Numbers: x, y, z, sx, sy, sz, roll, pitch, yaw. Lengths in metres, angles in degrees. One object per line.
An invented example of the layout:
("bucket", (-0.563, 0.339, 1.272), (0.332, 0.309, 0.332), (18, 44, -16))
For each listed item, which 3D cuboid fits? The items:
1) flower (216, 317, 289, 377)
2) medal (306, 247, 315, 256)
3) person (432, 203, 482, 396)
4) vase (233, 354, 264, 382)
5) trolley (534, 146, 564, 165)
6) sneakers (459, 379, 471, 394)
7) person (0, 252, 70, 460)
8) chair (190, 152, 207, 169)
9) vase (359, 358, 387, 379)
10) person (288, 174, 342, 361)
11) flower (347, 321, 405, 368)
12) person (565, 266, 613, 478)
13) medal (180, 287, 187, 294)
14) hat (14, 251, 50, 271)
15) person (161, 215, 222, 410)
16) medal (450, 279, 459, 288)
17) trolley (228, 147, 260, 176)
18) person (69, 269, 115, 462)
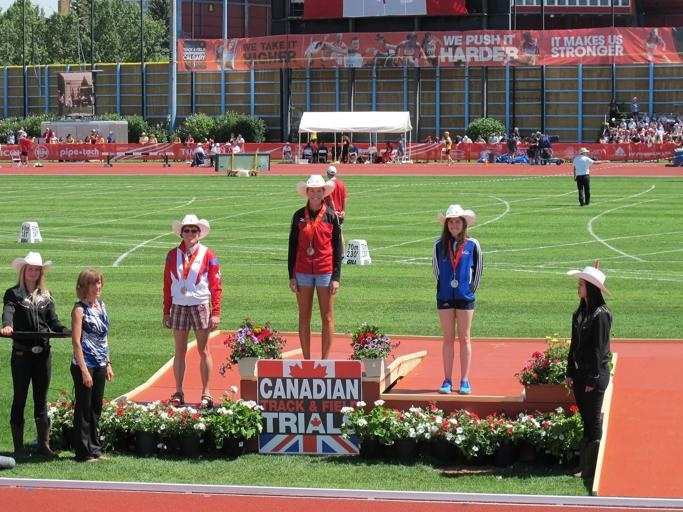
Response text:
("flower", (-1.931, 2.116, 33.614), (1.069, 0.930, 1.128), (-1, 3, 13))
("medal", (-0.638, -0.126, 33.940), (0.167, 0.192, 0.043), (-1, -1, 0))
("person", (2.576, 0.959, 33.296), (0.996, 4.010, 1.189), (0, 12, 0))
("vase", (-1.986, 2.475, 33.194), (0.482, 0.564, 0.434), (0, -3, 5))
("trolley", (10.317, -5.069, 75.788), (1.085, 0.762, 0.831), (2, -1, -4))
("sneakers", (2.744, 2.880, 33.261), (0.259, 0.289, 0.674), (-1, -1, 5))
("person", (-6.584, 2.134, 32.532), (1.180, 4.291, 1.033), (-3, 12, -12))
("chair", (-7.413, -5.209, 80.457), (0.716, 0.905, 1.061), (-1, 13, -5))
("vase", (0.745, 2.432, 32.960), (0.440, 0.359, 0.400), (-1, -5, 6))
("person", (-0.524, 0.263, 34.079), (1.198, 4.024, 0.727), (-1, 12, -2))
("flower", (0.695, 1.982, 33.324), (0.934, 0.666, 0.960), (-4, 22, -35))
("person", (5.235, 2.455, 31.851), (0.865, 4.272, 1.158), (-2, 12, -7))
("medal", (-3.397, 0.750, 33.471), (0.133, 0.147, 0.029), (1, 12, 3))
("hat", (-6.637, 0.111, 32.723), (0.541, 0.274, 0.613), (0, -8, -15))
("person", (-3.240, 1.195, 33.559), (1.234, 4.084, 1.022), (-2, 12, -7))
("medal", (2.514, 0.601, 33.175), (0.111, 0.191, 0.026), (0, 11, 12))
("trolley", (-4.586, -4.427, 72.759), (1.012, 1.614, 1.311), (1, -4, -7))
("person", (-5.307, 2.333, 32.427), (0.702, 4.006, 0.985), (6, 13, 25))
